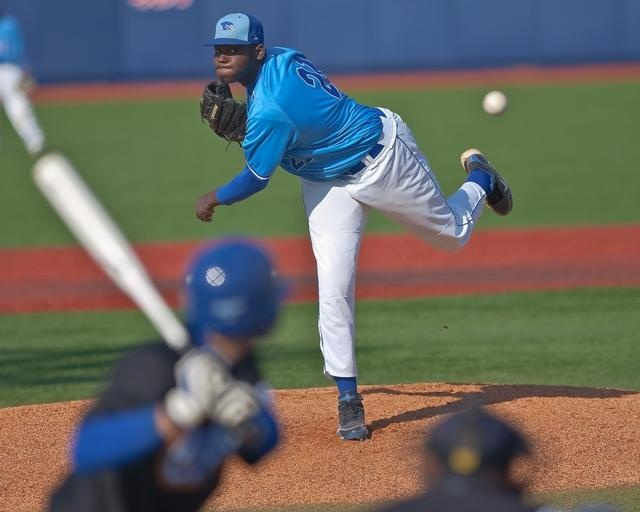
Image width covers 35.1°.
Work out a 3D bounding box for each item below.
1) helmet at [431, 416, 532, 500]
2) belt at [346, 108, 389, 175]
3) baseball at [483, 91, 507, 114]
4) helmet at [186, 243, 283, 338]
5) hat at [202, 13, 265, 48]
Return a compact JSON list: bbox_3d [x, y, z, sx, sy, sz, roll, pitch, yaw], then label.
[{"bbox_3d":[0.672,0.852,4.360,0.294,0.221,0.419,4,24,10],"label":"helmet"},{"bbox_3d":[0.243,-0.715,6.470,0.308,0.080,0.303,-56,13,-21],"label":"belt"},{"bbox_3d":[1.692,-1.473,9.669,0.226,0.232,0.126,10,1,11],"label":"baseball"},{"bbox_3d":[-0.407,0.190,4.846,0.464,0.341,0.329,-8,38,-2],"label":"helmet"},{"bbox_3d":[-0.542,-1.446,6.461,0.280,0.187,0.389,13,23,31],"label":"hat"}]
